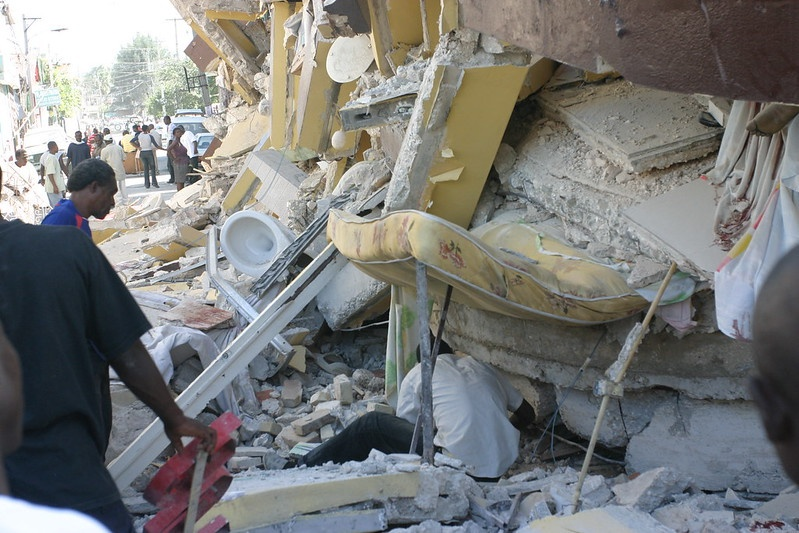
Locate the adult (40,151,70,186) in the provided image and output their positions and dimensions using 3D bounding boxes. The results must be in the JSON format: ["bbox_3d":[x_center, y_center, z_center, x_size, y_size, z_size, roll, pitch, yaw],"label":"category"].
[{"bbox_3d":[-6.246,-1.756,12.511,0.377,0.679,0.584,-7,29,-26],"label":"adult"}]

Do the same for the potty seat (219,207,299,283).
[{"bbox_3d":[-1.474,-0.247,7.607,0.647,0.835,0.609,-36,-16,27],"label":"potty seat"}]

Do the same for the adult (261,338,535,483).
[{"bbox_3d":[-0.080,1.063,5.279,1.961,1.237,0.753,-3,-3,31],"label":"adult"}]

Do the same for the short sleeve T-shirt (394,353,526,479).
[{"bbox_3d":[0.385,1.135,5.192,0.812,0.904,1.314,3,-10,-32],"label":"short sleeve T-shirt"}]

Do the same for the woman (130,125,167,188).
[{"bbox_3d":[-6.328,-2.766,17.510,0.703,1.563,0.434,-4,9,-10],"label":"woman"}]

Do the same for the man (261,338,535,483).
[{"bbox_3d":[-0.073,1.039,5.326,1.900,1.186,0.765,-1,0,35],"label":"man"}]

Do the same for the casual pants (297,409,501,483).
[{"bbox_3d":[-0.240,1.209,4.842,0.814,0.270,0.674,12,13,16],"label":"casual pants"}]
